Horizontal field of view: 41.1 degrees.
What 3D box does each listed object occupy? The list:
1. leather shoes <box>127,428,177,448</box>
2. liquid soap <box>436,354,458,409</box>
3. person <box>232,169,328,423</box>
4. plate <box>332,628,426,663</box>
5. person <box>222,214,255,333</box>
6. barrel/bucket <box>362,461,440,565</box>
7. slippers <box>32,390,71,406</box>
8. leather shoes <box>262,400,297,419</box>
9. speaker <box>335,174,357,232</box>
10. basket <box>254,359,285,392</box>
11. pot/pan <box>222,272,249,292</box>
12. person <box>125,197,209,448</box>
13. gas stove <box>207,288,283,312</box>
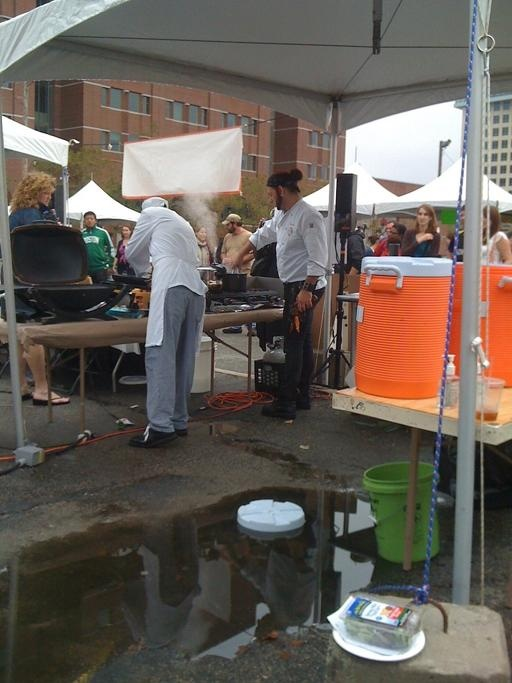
[{"bbox_3d":[-0.641,0.600,4.236,0.304,0.122,0.114,3,-3,-15],"label":"leather shoes"},{"bbox_3d":[0.610,0.119,2.171,0.058,0.152,0.164,4,10,14],"label":"liquid soap"},{"bbox_3d":[0.234,-0.356,5.018,0.773,1.590,0.624,-1,2,-24],"label":"person"},{"bbox_3d":[0.273,0.670,1.502,0.203,0.021,0.104,1,8,1],"label":"plate"},{"bbox_3d":[-0.379,-1.003,9.499,0.585,1.764,0.577,14,17,40],"label":"person"},{"bbox_3d":[0.556,0.663,2.857,0.389,0.368,0.377,1,5,0],"label":"barrel/bucket"},{"bbox_3d":[-1.583,0.444,5.211,0.364,0.130,0.123,-1,6,-14],"label":"slippers"},{"bbox_3d":[0.177,0.506,5.140,0.247,0.135,0.109,10,4,22],"label":"leather shoes"},{"bbox_3d":[0.759,-1.176,5.828,0.172,0.498,0.171,2,10,3],"label":"speaker"},{"bbox_3d":[0.107,0.287,5.705,0.307,0.247,0.280,0,4,-12],"label":"basket"},{"bbox_3d":[-0.157,-0.448,5.229,0.171,0.111,0.162,-4,12,-16],"label":"pot/pan"},{"bbox_3d":[-0.590,-0.172,4.290,0.593,1.539,0.567,-4,-8,14],"label":"person"},{"bbox_3d":[-0.102,-0.308,5.298,0.213,0.120,0.706,16,17,43],"label":"gas stove"}]
